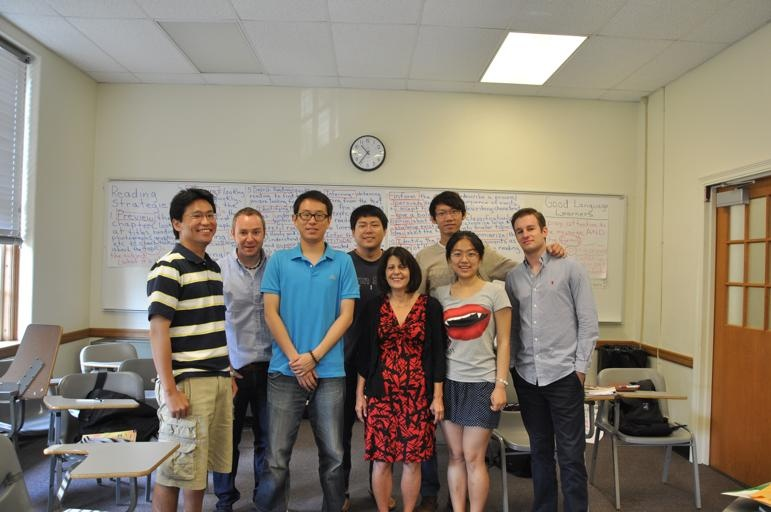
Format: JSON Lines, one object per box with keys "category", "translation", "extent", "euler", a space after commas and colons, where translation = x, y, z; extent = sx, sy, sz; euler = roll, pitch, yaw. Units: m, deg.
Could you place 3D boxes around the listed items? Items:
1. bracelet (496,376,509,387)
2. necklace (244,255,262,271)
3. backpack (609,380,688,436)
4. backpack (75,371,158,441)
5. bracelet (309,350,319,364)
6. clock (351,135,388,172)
{"category": "bracelet", "translation": [0.898, 0.959, 4.297], "extent": [0.131, 0.058, 0.169], "euler": [1, -5, 0]}
{"category": "necklace", "translation": [-1.078, 0.054, 4.513], "extent": [0.126, 0.090, 0.123], "euler": [0, -4, -4]}
{"category": "backpack", "translation": [2.368, 1.334, 5.042], "extent": [0.554, 0.518, 0.490], "euler": [1, -7, 6]}
{"category": "backpack", "translation": [-2.132, 1.172, 4.472], "extent": [0.532, 0.188, 0.521], "euler": [4, -5, -35]}
{"category": "bracelet", "translation": [-0.519, 0.737, 4.065], "extent": [0.025, 0.080, 0.084], "euler": [-42, 30, -7]}
{"category": "clock", "translation": [-0.198, -1.140, 6.224], "extent": [0.420, 0.407, 0.066], "euler": [-2, 1, 1]}
